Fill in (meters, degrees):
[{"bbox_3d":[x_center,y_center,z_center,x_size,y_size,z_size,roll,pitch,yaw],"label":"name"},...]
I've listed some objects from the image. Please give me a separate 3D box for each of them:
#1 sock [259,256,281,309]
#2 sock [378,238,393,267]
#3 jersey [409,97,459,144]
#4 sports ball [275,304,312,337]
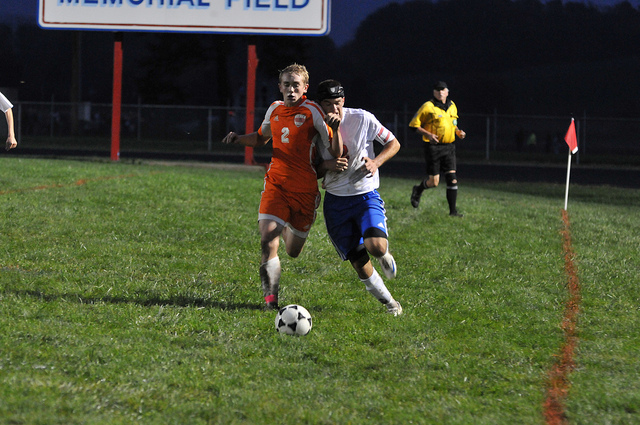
[{"bbox_3d":[-0.835,1.153,13.509,0.315,0.822,0.215,1,7,-5],"label":"sock"},{"bbox_3d":[1.076,0.657,13.438,0.127,0.397,0.150,-11,7,0],"label":"sock"},{"bbox_3d":[2.731,-2.048,18.610,1.303,1.174,0.723,3,-8,-38],"label":"jersey"},{"bbox_3d":[-0.423,1.689,12.903,0.478,0.508,0.468,-4,-8,-1],"label":"sports ball"}]
